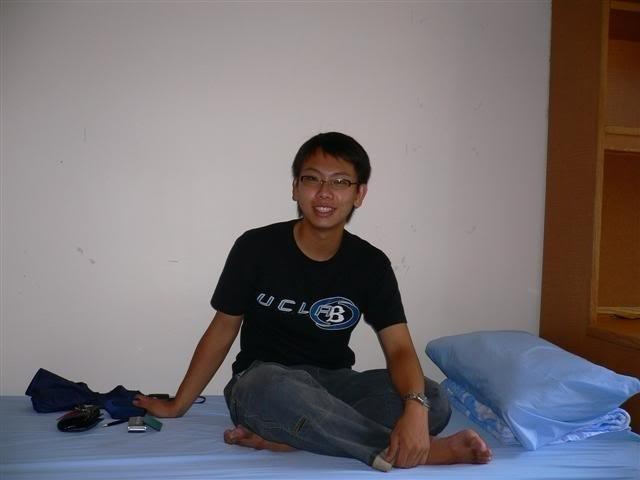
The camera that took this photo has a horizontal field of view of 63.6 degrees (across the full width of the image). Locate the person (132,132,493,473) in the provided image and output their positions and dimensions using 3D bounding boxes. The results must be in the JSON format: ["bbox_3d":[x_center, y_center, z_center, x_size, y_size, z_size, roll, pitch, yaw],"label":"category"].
[{"bbox_3d":[0.063,0.218,1.995,1.327,1.224,0.776,3,-2,24],"label":"person"}]

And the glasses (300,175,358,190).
[{"bbox_3d":[0.031,-0.219,1.988,0.212,0.054,0.037,1,13,0],"label":"glasses"}]

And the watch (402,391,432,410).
[{"bbox_3d":[0.344,0.562,1.824,0.082,0.053,0.084,38,-25,5],"label":"watch"}]
